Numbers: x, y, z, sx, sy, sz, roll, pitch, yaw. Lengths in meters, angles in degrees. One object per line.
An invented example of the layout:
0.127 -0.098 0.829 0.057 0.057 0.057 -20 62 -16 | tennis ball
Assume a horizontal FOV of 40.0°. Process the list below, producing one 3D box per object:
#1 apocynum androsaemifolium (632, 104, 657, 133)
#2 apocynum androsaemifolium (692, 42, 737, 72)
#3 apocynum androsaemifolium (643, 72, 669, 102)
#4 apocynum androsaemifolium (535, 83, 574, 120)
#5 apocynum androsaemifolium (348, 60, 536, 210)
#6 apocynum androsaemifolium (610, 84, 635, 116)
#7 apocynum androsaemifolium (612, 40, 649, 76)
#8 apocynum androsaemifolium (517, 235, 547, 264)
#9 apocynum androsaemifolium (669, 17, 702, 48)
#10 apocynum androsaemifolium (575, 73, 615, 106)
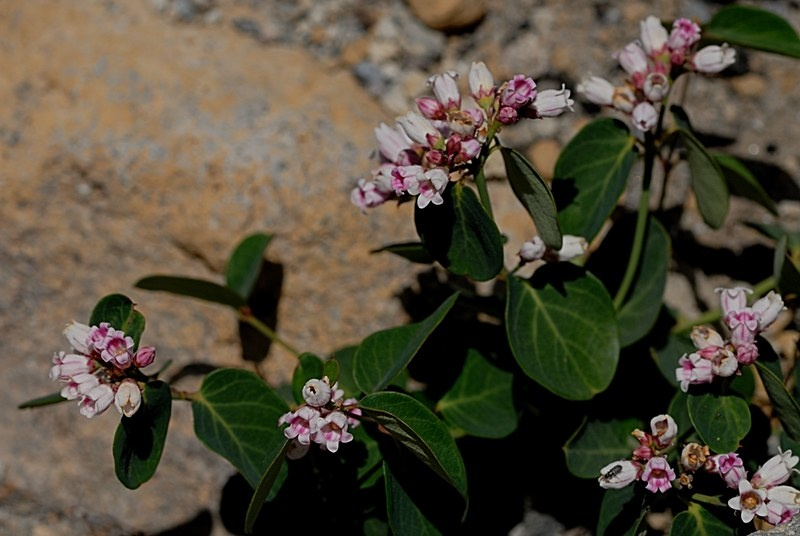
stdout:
1.213 -0.752 5.473 0.101 0.107 0.141 -5 79 0 | apocynum androsaemifolium
1.568 -1.042 5.456 0.193 0.089 0.122 -3 101 17 | apocynum androsaemifolium
1.268 -0.908 5.448 0.102 0.118 0.145 3 85 8 | apocynum androsaemifolium
0.769 -0.829 5.469 0.203 0.113 0.127 -2 54 8 | apocynum androsaemifolium
0.228 -0.657 5.604 0.884 0.334 0.582 -45 86 8 | apocynum androsaemifolium
1.129 -0.846 5.538 0.133 0.098 0.118 23 63 14 | apocynum androsaemifolium
1.174 -1.047 5.604 0.131 0.160 0.188 -28 84 14 | apocynum androsaemifolium
0.671 -0.093 5.571 0.103 0.138 0.070 -32 92 -15 | apocynum androsaemifolium
1.432 -1.177 5.523 0.141 0.093 0.160 16 62 10 | apocynum androsaemifolium
0.996 -0.901 5.606 0.189 0.083 0.118 27 86 8 | apocynum androsaemifolium
